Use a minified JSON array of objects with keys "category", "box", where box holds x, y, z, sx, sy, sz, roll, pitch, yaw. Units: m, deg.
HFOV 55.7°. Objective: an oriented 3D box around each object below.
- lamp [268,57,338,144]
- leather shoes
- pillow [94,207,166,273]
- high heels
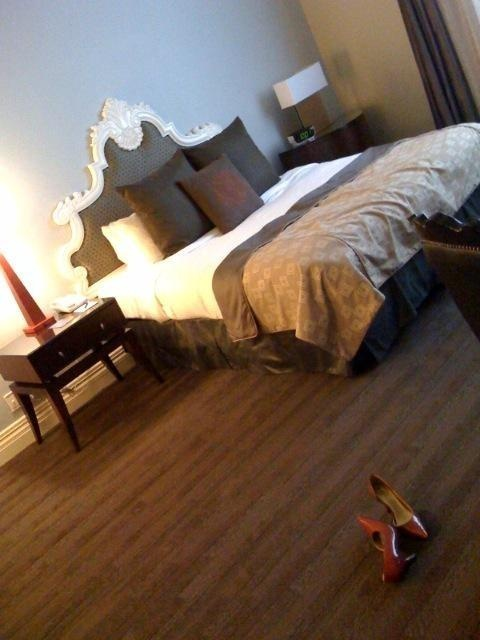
[{"category":"lamp","box":[0.572,-2.127,4.344,0.237,0.844,0.688,12,50,43]},{"category":"leather shoes","box":[0.426,0.510,1.218,0.059,0.074,0.191,-37,23,0]},{"category":"pillow","box":[-0.706,-0.502,2.969,0.370,0.387,0.149,-31,4,-15]},{"category":"high heels","box":[0.371,0.556,1.123,0.050,0.060,0.153,-39,29,18]}]
